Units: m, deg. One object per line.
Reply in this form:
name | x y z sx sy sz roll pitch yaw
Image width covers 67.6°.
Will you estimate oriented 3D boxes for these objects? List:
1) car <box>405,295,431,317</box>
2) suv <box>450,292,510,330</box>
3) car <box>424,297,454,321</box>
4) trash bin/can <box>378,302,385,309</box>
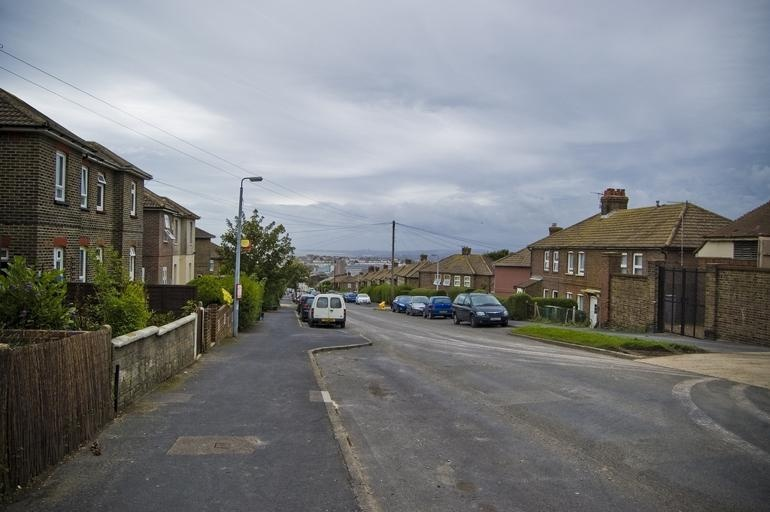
car | 2.880 4.510 50.679 1.399 0.964 2.732 1 -9 -9
suv | 6.029 3.399 36.462 1.980 2.060 4.125 1 -4 -12
car | 4.247 4.086 45.435 2.322 1.673 1.831 0 -4 14
trash bin/can | -0.351 5.738 66.898 0.646 0.949 0.963 2 -6 -11
